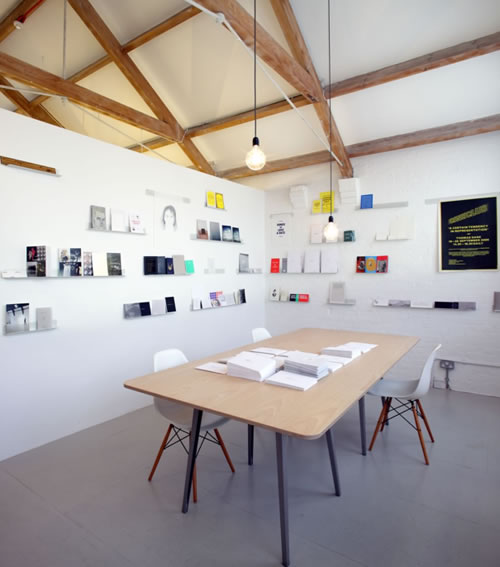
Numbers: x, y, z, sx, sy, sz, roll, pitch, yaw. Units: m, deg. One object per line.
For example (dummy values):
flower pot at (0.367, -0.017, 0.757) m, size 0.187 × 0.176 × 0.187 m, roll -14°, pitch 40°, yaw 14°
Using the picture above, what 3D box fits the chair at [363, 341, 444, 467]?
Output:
chair at (1.122, 0.813, 2.857) m, size 0.448 × 0.740 × 0.417 m, roll 1°, pitch -4°, yaw 35°

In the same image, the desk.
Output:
desk at (0.413, 0.835, 2.792) m, size 1.192 × 0.744 × 2.388 m, roll 1°, pitch 4°, yaw 34°
